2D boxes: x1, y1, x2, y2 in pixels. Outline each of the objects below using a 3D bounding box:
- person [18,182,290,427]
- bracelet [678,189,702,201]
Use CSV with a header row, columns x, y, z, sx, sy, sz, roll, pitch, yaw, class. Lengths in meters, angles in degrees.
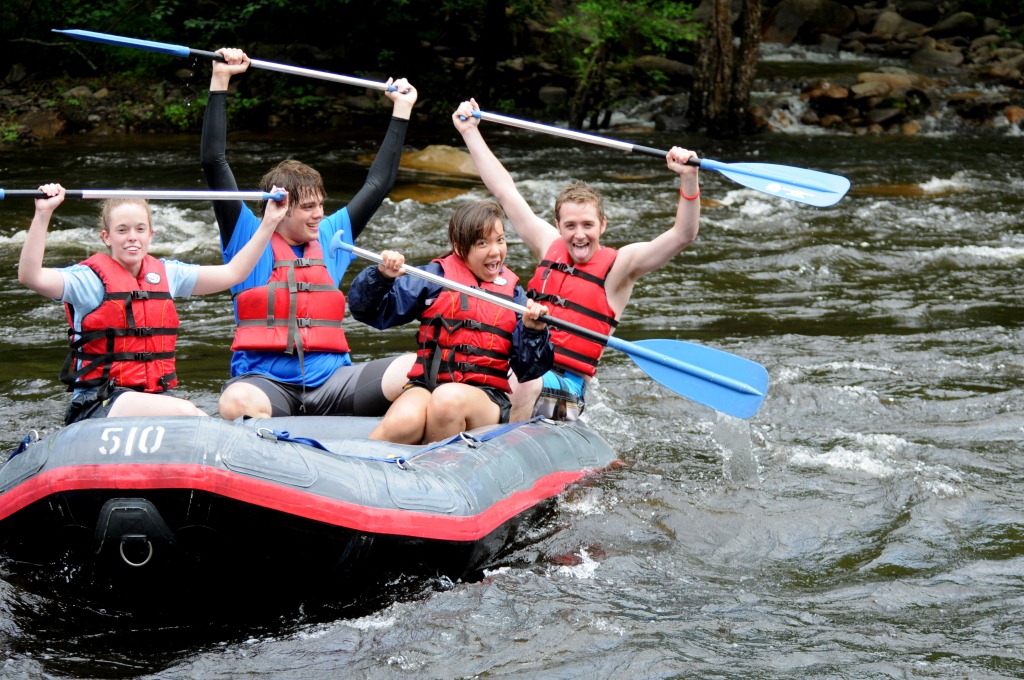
x,y,z,sx,sy,sz,roll,pitch,yaw,class
-2.097,-0.205,7.346,1.310,1.322,0.464,-1,14,-18,person
1.044,-0.852,7.653,0.101,0.062,0.065,1,12,-11,bracelet
